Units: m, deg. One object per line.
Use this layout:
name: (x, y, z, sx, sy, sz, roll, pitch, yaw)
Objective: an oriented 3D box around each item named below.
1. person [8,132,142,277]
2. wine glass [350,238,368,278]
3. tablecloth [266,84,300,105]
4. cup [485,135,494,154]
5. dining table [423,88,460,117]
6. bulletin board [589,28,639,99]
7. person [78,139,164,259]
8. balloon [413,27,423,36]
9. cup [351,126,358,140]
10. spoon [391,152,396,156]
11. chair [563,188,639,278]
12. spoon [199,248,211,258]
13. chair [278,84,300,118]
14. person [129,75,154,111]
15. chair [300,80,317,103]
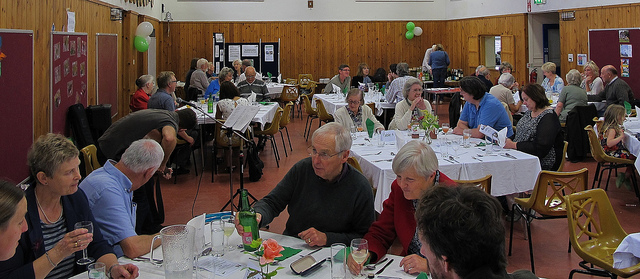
person: (-3.452, 0.834, 5.431, 1.152, 1.734, 0.600, -2, 10, -1)
wine glass: (0.506, 1.545, 5.271, 0.216, 0.542, 0.140, -2, 10, 0)
tablecloth: (-1.393, -1.607, 14.374, 0.604, 0.769, 0.609, 2, 52, 2)
cup: (3.171, 0.079, 7.681, 0.136, 0.312, 0.268, 4, 12, 27)
dining table: (4.088, -1.410, 13.939, 0.987, 0.625, 1.014, -2, 14, -4)
bulletin board: (9.029, -2.391, 12.599, 0.237, 2.052, 1.517, -8, 12, -30)
person: (-2.886, 0.920, 6.015, 0.894, 1.624, 0.748, 1, 37, -41)
balloon: (4.365, -4.815, 18.123, 0.465, 0.353, 0.192, -4, 11, -13)
cup: (0.749, -0.135, 8.596, 0.245, 0.264, 0.240, 0, 0, 0)
spoon: (1.383, 0.257, 7.713, 0.139, 0.043, 0.101, 3, 7, 8)
chair: (4.291, 1.472, 6.279, 1.010, 1.331, 0.623, 6, 13, 36)
spoon: (-1.537, 1.547, 5.622, 0.111, 0.030, 0.032, -36, 5, -26)
chair: (-1.008, -1.431, 14.448, 0.895, 1.160, 0.836, -5, 20, -17)
person: (-4.775, -1.263, 11.077, 0.572, 1.021, 1.093, -3, 20, -30)
chair: (-0.387, -1.946, 15.915, 0.580, 0.812, 0.589, -5, 10, -35)
